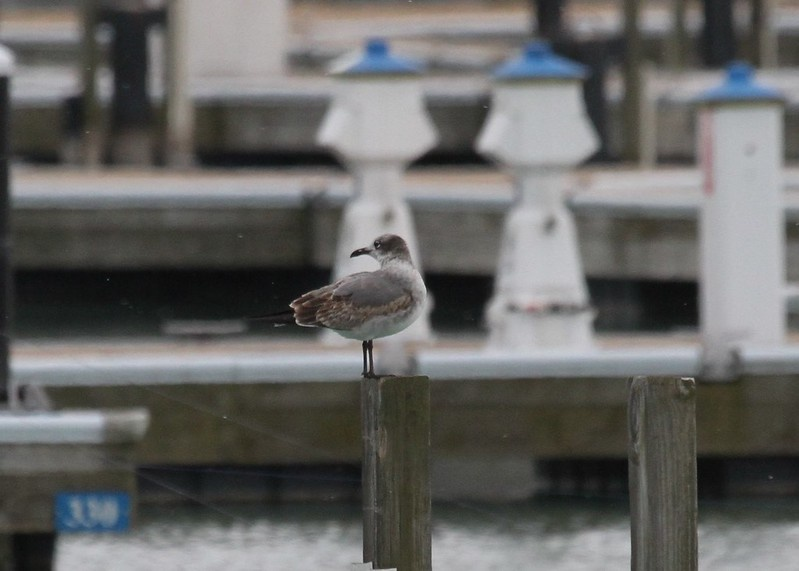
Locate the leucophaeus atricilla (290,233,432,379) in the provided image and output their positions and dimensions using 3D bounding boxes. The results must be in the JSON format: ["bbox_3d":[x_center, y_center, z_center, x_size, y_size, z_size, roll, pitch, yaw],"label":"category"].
[{"bbox_3d":[-0.250,0.126,11.722,0.891,0.744,0.471,-2,8,14],"label":"leucophaeus atricilla"}]
